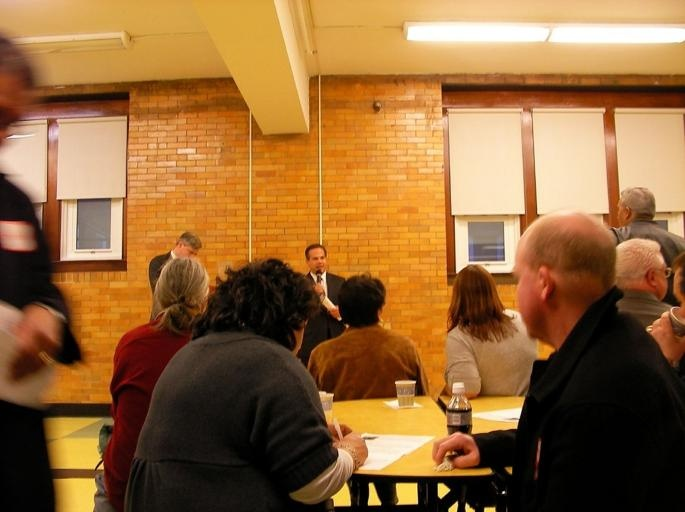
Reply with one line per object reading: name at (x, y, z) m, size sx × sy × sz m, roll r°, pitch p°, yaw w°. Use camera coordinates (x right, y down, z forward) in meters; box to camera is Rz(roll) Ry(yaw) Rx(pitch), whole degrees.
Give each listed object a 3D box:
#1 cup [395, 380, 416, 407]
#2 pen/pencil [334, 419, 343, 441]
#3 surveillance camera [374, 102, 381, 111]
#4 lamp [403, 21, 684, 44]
cup at (0.323, 0.710, 3.382) m, size 0.118 × 0.116 × 0.127 m, roll 0°, pitch -7°, yaw 0°
pen/pencil at (-0.021, 0.715, 2.681) m, size 0.019 × 0.118 × 0.022 m, roll -5°, pitch -21°, yaw -15°
surveillance camera at (0.347, -1.516, 6.662) m, size 0.070 × 0.074 × 0.066 m, roll 18°, pitch -6°, yaw -13°
lamp at (1.777, -1.999, 5.802) m, size 2.486 × 0.139 × 0.290 m, roll -2°, pitch -6°, yaw -1°
